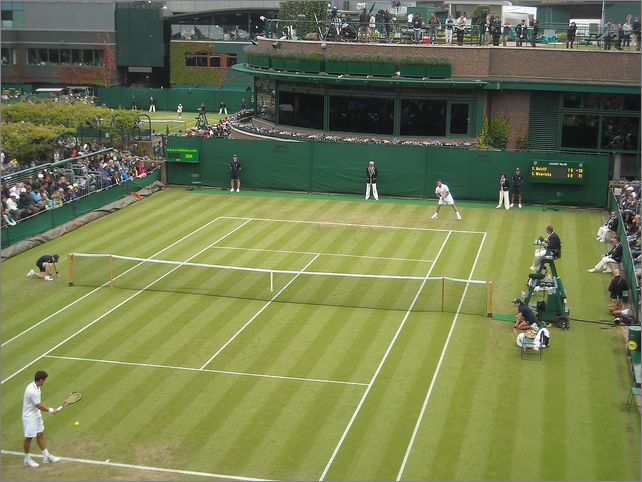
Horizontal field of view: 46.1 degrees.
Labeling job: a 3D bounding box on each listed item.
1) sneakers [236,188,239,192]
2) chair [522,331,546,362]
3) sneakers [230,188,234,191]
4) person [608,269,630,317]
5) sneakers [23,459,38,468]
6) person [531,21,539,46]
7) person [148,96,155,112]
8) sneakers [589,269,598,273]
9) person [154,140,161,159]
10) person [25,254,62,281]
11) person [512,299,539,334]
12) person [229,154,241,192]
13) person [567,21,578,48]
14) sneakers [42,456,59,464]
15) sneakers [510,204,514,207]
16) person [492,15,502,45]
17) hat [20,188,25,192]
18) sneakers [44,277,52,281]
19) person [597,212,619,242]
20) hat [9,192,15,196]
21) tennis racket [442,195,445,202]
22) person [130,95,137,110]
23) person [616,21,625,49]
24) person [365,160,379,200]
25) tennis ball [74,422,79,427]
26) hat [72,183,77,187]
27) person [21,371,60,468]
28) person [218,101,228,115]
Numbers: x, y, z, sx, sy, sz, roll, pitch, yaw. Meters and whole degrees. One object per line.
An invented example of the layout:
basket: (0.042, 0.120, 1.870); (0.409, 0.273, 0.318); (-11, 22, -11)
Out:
sneakers: (-5.043, -3.049, 45.650); (0.110, 0.213, 0.156); (4, 9, 22)
chair: (7.377, 3.594, 26.076); (0.842, 0.918, 1.061); (2, 8, 13)
sneakers: (-5.422, -3.100, 45.727); (0.207, 0.122, 0.077); (-1, -10, 17)
person: (11.147, 2.003, 28.384); (0.584, 1.607, 0.578); (5, 13, 21)
sneakers: (-8.021, 6.098, 20.863); (0.413, 0.189, 0.201); (7, 7, 21)
person: (13.683, -13.225, 48.275); (0.437, 1.635, 1.736); (3, 13, 14)
person: (-18.109, -14.558, 80.596); (0.656, 1.483, 1.150); (-3, 13, -13)
sneakers: (11.710, 1.264, 32.592); (0.298, 0.216, 0.114); (1, 9, 11)
person: (-10.748, -6.028, 49.711); (0.419, 1.021, 2.054); (-3, 13, -12)
person: (-11.856, 1.107, 32.146); (1.290, 0.953, 1.308); (-6, 14, -27)
person: (7.056, 2.672, 26.757); (1.016, 1.235, 0.851); (3, 19, 29)
person: (-5.171, -4.050, 45.321); (0.643, 2.198, 1.120); (-2, 13, -7)
person: (15.609, -12.759, 46.981); (0.558, 1.581, 1.495); (4, 13, 17)
sneakers: (-7.502, 6.025, 20.990); (0.458, 0.209, 0.202); (1, 7, -6)
sneakers: (10.621, -1.950, 41.994); (0.181, 0.226, 0.169); (5, 16, 12)
person: (11.255, -13.483, 48.539); (0.600, 1.842, 1.467); (3, 13, 12)
hat: (-14.710, -2.506, 37.180); (0.268, 0.176, 0.359); (1, 4, -34)
sneakers: (-11.513, 1.545, 31.825); (0.327, 0.193, 0.247); (-5, 14, -22)
person: (13.971, -0.642, 36.805); (0.940, 1.746, 0.729); (3, 31, 5)
hat: (-15.197, -2.297, 37.152); (0.349, 0.161, 0.477); (0, 3, -16)
tennis racket: (6.345, -2.228, 39.307); (0.198, 0.303, 0.087); (5, -3, 21)
person: (-19.775, -14.636, 79.775); (0.601, 1.381, 1.826); (-3, 13, -12)
person: (18.845, -12.769, 47.576); (0.435, 1.475, 2.339); (5, 14, 20)
person: (2.960, -3.497, 43.768); (0.774, 2.271, 1.378); (1, 13, 4)
tennis ball: (-7.196, 5.356, 22.174); (0.154, 0.091, 0.161); (2, 1, 0)
hat: (-13.204, -2.991, 40.437); (0.213, 0.118, 0.162); (6, 8, 36)
person: (-7.934, 4.836, 21.056); (0.900, 2.579, 1.179); (-5, 13, -22)
person: (-10.210, -13.797, 78.617); (0.779, 1.313, 1.370); (-2, 13, -7)
